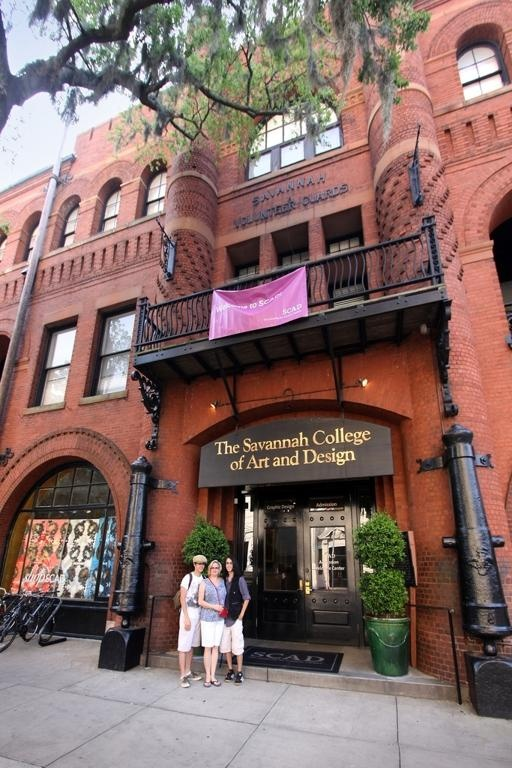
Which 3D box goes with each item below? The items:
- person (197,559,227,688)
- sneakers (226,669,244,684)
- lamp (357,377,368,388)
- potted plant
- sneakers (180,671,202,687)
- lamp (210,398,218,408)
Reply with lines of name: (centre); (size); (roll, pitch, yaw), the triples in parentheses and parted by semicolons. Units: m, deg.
person: (-0.555, 2.954, 5.556); (0.348, 1.393, 0.610); (1, -21, -5)
sneakers: (-0.263, 3.641, 5.572); (0.113, 0.126, 0.266); (1, -24, 3)
lamp: (1.779, -0.018, 7.353); (0.112, 0.100, 0.157); (11, 10, -26)
potted plant: (1.708, 2.642, 5.762); (0.678, 1.891, 0.596); (-1, -20, 0)
sneakers: (-0.830, 3.666, 5.531); (0.329, 0.159, 0.130); (3, -22, -15)
lamp: (-0.815, 0.398, 8.577); (0.064, 0.196, 0.218); (18, -29, -42)
